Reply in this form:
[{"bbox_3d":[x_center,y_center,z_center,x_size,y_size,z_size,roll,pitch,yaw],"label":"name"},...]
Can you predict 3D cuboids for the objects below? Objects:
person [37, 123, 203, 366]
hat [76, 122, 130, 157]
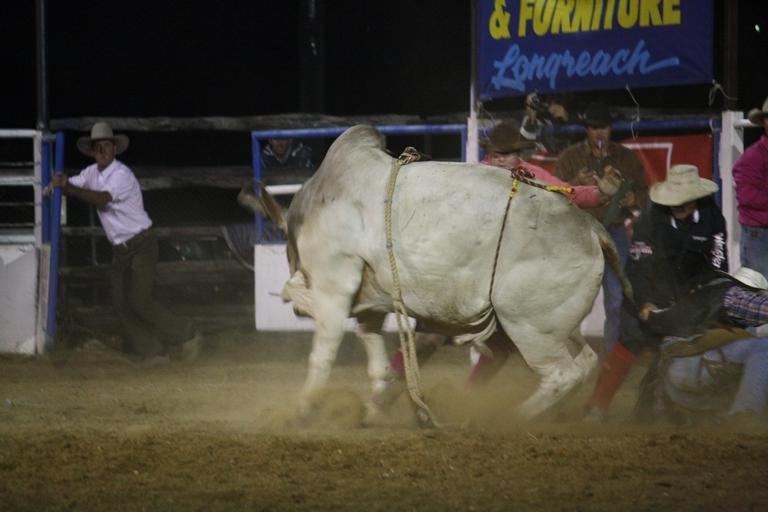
[{"bbox_3d":[-2.817,-0.142,10.573,1.400,2.556,0.769,5,15,25],"label":"person"},{"bbox_3d":[-3.301,-1.383,11.247,0.518,0.229,0.577,-1,-13,-13],"label":"hat"}]
